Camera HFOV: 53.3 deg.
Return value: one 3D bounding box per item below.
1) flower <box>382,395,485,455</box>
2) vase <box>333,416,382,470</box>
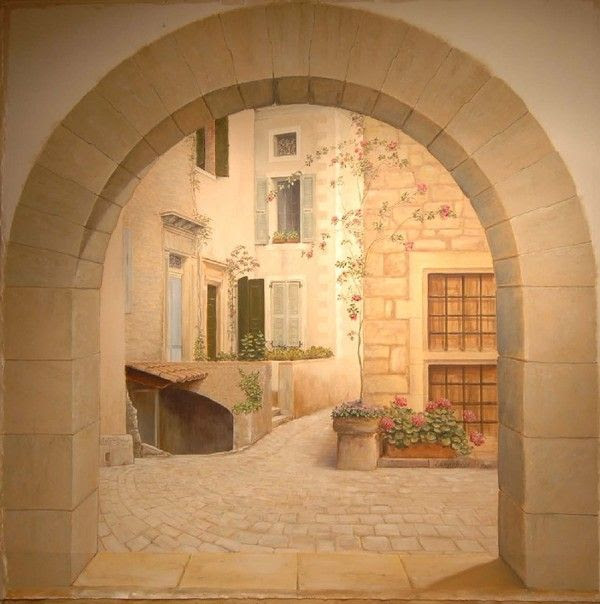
[{"bbox_3d":[1.492,1.431,6.923,1.147,0.637,0.622,0,-2,1],"label":"flower"},{"bbox_3d":[0.668,1.522,6.830,0.495,0.632,0.657,-1,-5,11],"label":"vase"}]
